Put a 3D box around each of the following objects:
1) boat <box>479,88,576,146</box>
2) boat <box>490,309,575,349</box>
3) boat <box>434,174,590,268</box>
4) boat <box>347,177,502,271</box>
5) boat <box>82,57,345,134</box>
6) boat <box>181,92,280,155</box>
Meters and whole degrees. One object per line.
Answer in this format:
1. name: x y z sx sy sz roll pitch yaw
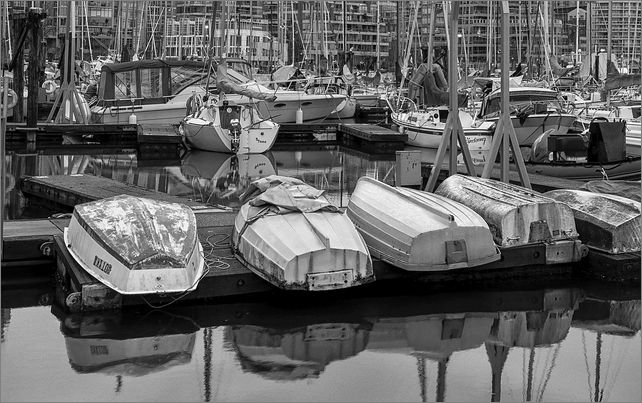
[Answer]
1. boat: 6.761 -2.848 31.345 1.634 1.227 3.520 -3 7 -2
2. boat: 3.988 2.443 18.327 1.622 0.408 1.156 1 8 5
3. boat: 4.085 0.480 19.467 1.449 0.817 2.523 -6 15 -24
4. boat: 1.687 0.485 19.199 1.600 0.839 2.345 -8 22 -26
5. boat: -3.831 -3.586 37.300 9.651 2.987 3.448 -5 14 -19
6. boat: -3.138 -2.492 31.454 3.199 1.815 1.631 5 9 32
